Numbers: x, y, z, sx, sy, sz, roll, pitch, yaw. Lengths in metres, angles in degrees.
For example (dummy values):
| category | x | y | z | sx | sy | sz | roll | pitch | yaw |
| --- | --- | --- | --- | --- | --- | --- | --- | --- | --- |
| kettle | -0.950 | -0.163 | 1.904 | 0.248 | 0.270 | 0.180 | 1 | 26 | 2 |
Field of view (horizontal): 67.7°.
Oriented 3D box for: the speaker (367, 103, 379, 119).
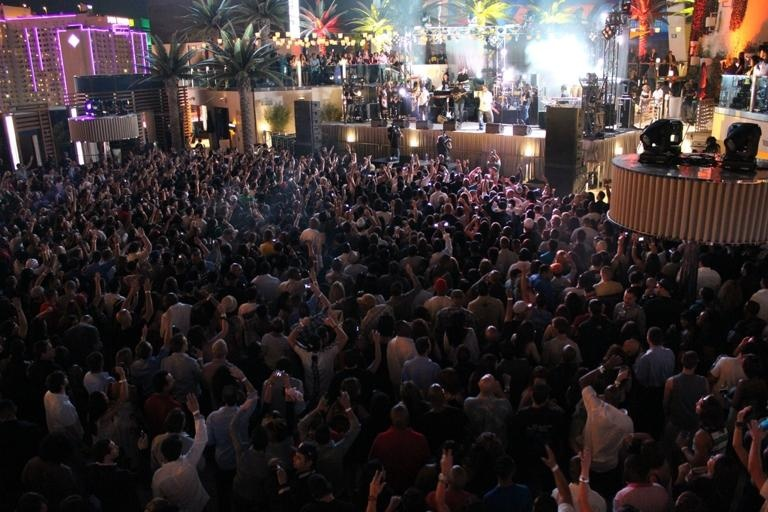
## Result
| category | x | y | z | sx | sy | sz | roll | pitch | yaw |
| --- | --- | --- | --- | --- | --- | --- | --- | --- | --- |
| speaker | -0.502 | -6.520 | 25.710 | 0.551 | 0.655 | 0.154 | -15 | 20 | -41 |

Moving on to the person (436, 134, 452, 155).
| category | x | y | z | sx | sy | sz | roll | pitch | yaw |
| --- | --- | --- | --- | --- | --- | --- | --- | --- | --- |
| person | 2.039 | -3.818 | 19.691 | 0.357 | 0.707 | 0.738 | 0 | 15 | 7 |

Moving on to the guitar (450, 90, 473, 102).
| category | x | y | z | sx | sy | sz | roll | pitch | yaw |
| --- | --- | --- | --- | --- | --- | --- | --- | --- | --- |
| guitar | 3.097 | -6.519 | 23.286 | 0.703 | 0.227 | 1.505 | 5 | 11 | 16 |

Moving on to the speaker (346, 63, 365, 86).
| category | x | y | z | sx | sy | sz | roll | pitch | yaw |
| --- | --- | --- | --- | --- | --- | --- | --- | --- | --- |
| speaker | -1.195 | -8.016 | 25.443 | 0.849 | 0.911 | 0.675 | 0 | 15 | 7 |

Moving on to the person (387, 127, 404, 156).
| category | x | y | z | sx | sy | sz | roll | pitch | yaw |
| --- | --- | --- | --- | --- | --- | --- | --- | --- | --- |
| person | 0.412 | -4.329 | 21.778 | 0.459 | 1.210 | 0.663 | -1 | 15 | 2 |

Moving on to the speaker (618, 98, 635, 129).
| category | x | y | z | sx | sy | sz | roll | pitch | yaw |
| --- | --- | --- | --- | --- | --- | --- | --- | --- | --- |
| speaker | 8.643 | -5.158 | 20.554 | 0.411 | 1.019 | 0.706 | -4 | 15 | -9 |

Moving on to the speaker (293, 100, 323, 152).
| category | x | y | z | sx | sy | sz | roll | pitch | yaw |
| --- | --- | --- | --- | --- | --- | --- | --- | --- | --- |
| speaker | -3.119 | -5.231 | 23.178 | 1.099 | 2.076 | 0.910 | 0 | 15 | 7 |

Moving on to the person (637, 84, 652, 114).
| category | x | y | z | sx | sy | sz | roll | pitch | yaw |
| --- | --- | --- | --- | --- | --- | --- | --- | --- | --- |
| person | 10.638 | -6.413 | 23.409 | 0.427 | 1.074 | 0.780 | 5 | 16 | 24 |

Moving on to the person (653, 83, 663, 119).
| category | x | y | z | sx | sy | sz | roll | pitch | yaw |
| --- | --- | --- | --- | --- | --- | --- | --- | --- | --- |
| person | 10.821 | -6.067 | 22.599 | 0.326 | 1.045 | 0.777 | 1 | 15 | 11 |

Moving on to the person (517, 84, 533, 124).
| category | x | y | z | sx | sy | sz | roll | pitch | yaw |
| --- | --- | --- | --- | --- | --- | --- | --- | --- | --- |
| person | 5.562 | -5.985 | 22.585 | 0.506 | 1.478 | 2.888 | 2 | 16 | 13 |

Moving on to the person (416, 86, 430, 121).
| category | x | y | z | sx | sy | sz | roll | pitch | yaw |
| --- | --- | --- | --- | --- | --- | --- | --- | --- | --- |
| person | 1.678 | -6.609 | 24.707 | 0.558 | 1.391 | 1.202 | -1 | 15 | 4 |

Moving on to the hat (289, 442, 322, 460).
| category | x | y | z | sx | sy | sz | roll | pitch | yaw |
| --- | --- | --- | --- | --- | --- | --- | --- | --- | --- |
| hat | -0.779 | 1.983 | 5.749 | 0.221 | 0.123 | 0.159 | 24 | -8 | -2 |

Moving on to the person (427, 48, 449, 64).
| category | x | y | z | sx | sy | sz | roll | pitch | yaw |
| --- | --- | --- | --- | --- | --- | --- | --- | --- | --- |
| person | 2.929 | -11.083 | 31.855 | 0.998 | 0.752 | 0.479 | -1 | 15 | 3 |
